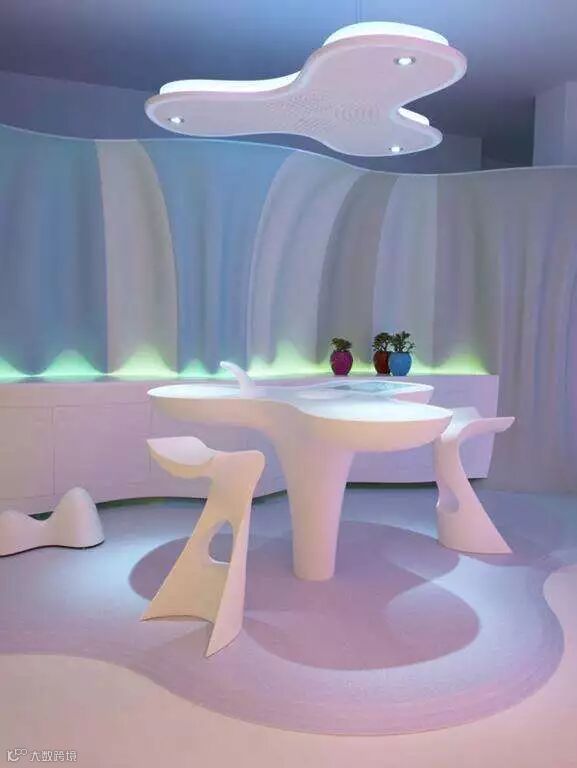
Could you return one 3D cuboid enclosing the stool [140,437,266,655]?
[{"bbox_3d":[-0.402,0.743,2.706,0.453,1.080,0.659,5,-3,-37],"label":"stool"}]

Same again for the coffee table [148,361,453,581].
[{"bbox_3d":[0.141,0.494,2.913,1.341,0.939,1.576,-1,6,8],"label":"coffee table"}]
